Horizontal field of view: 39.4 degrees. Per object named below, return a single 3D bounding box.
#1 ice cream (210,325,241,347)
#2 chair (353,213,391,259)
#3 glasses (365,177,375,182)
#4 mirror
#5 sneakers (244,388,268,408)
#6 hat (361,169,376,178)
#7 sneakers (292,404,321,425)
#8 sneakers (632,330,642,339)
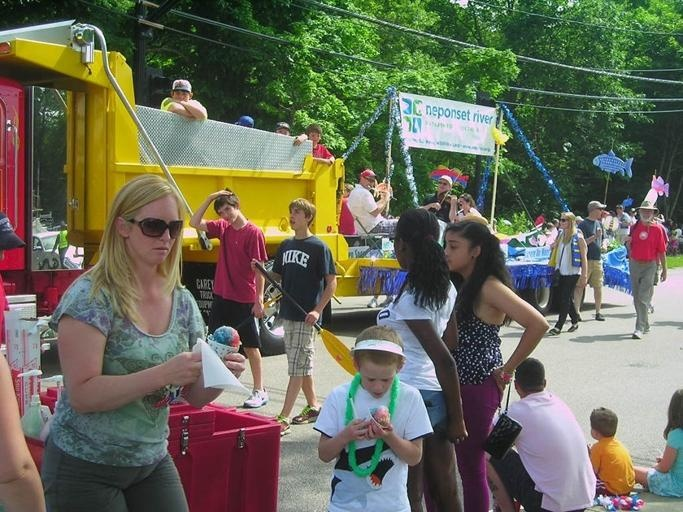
[{"bbox_3d":[-0.733,0.515,5.989,0.215,0.136,0.211,0,5,-28],"label":"ice cream"},{"bbox_3d":[0.466,-0.290,14.562,0.611,0.852,0.514,-1,1,15],"label":"chair"},{"bbox_3d":[0.437,-1.165,14.750,0.156,0.072,0.100,9,9,18],"label":"glasses"},{"bbox_3d":[-3.169,-0.837,10.379,0.387,1.934,0.257,1,5,-19],"label":"mirror"},{"bbox_3d":[-0.896,1.502,10.055,0.258,0.177,0.306,2,5,-5],"label":"sneakers"},{"bbox_3d":[0.412,-1.253,14.732,0.210,0.124,0.162,4,10,7],"label":"hat"},{"bbox_3d":[-0.361,1.601,9.693,0.281,0.182,0.268,3,5,-3],"label":"sneakers"},{"bbox_3d":[4.446,1.199,14.370,0.076,0.089,0.217,-3,-5,28],"label":"sneakers"}]
